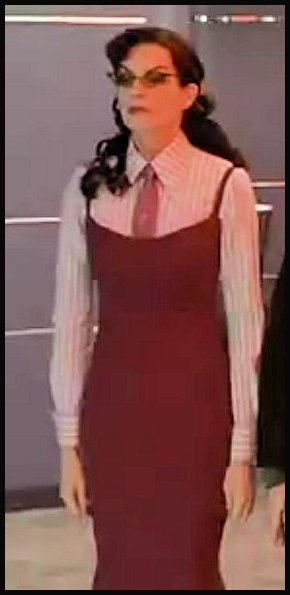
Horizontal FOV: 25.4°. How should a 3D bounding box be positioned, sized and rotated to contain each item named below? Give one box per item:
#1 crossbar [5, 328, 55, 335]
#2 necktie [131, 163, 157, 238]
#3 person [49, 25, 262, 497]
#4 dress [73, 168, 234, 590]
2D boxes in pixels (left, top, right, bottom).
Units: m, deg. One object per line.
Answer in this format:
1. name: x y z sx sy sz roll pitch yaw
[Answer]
1. crossbar: -0.316 0.095 1.800 0.129 0.017 0.016 -1 -12 -3
2. necktie: 0.002 -0.275 1.812 0.059 0.196 0.082 -13 15 -15
3. person: 0.024 -0.087 1.778 0.582 1.257 0.468 0 20 9
4. dress: 0.041 0.211 1.931 0.709 1.026 0.502 1 23 -4
